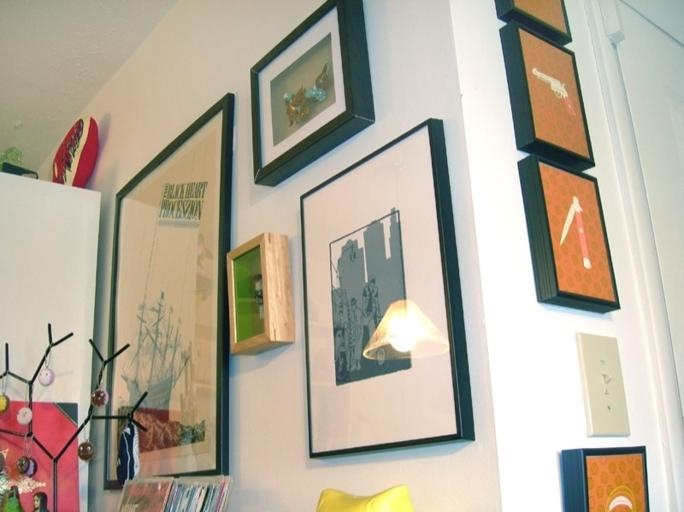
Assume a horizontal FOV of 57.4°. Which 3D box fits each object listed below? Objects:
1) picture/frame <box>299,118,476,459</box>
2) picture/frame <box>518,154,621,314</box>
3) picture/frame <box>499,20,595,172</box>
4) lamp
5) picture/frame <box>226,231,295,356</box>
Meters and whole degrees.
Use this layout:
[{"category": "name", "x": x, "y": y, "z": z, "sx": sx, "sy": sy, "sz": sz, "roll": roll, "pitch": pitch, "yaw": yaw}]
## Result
[{"category": "picture/frame", "x": 0.132, "y": 0.105, "z": 1.614, "sx": 0.086, "sy": 0.963, "sz": 0.590, "roll": 12, "pitch": -26, "yaw": -33}, {"category": "picture/frame", "x": 0.579, "y": -0.044, "z": 1.614, "sx": 0.296, "sy": 0.405, "sz": 0.049, "roll": 21, "pitch": -31, "yaw": -39}, {"category": "picture/frame", "x": 0.550, "y": -0.423, "z": 1.703, "sx": 0.334, "sy": 0.457, "sz": 0.056, "roll": 18, "pitch": -29, "yaw": -39}, {"category": "lamp", "x": 0.162, "y": 0.202, "z": 1.555, "sx": 0.142, "sy": 0.093, "sz": 0.151, "roll": -3, "pitch": -12, "yaw": 17}, {"category": "picture/frame", "x": -0.241, "y": 0.125, "z": 1.916, "sx": 0.079, "sy": 0.355, "sz": 0.231, "roll": 12, "pitch": -31, "yaw": -34}]
